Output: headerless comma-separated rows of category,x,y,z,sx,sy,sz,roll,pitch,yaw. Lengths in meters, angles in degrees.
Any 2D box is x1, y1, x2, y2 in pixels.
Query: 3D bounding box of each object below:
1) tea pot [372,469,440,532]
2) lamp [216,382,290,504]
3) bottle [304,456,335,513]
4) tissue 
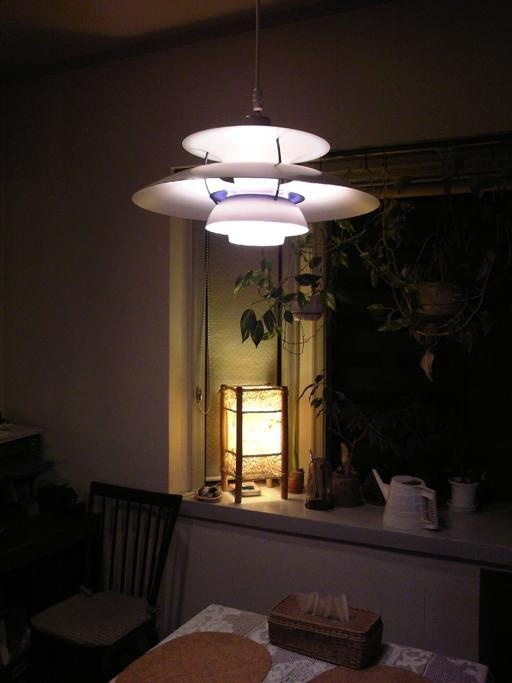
tea pot,0.499,0.556,1.935,0.161,0.167,0.244,23,-18,-39
lamp,-0.007,0.395,2.233,0.268,0.446,0.279,0,-3,-5
bottle,0.236,0.527,2.116,0.115,0.187,0.082,0,-3,-4
tissue ,0.152,0.640,1.306,0.257,0.131,0.154,-2,-4,24
